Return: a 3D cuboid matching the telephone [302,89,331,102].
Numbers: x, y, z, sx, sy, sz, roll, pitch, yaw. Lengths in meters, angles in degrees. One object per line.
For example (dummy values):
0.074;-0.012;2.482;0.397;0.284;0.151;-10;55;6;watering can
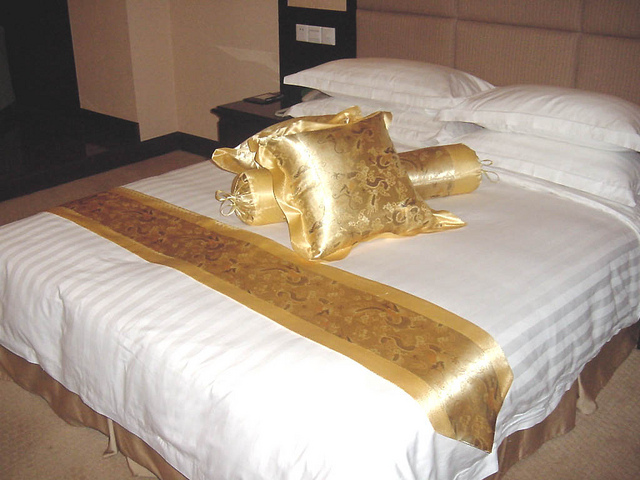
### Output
-0.028;-0.860;3.126;0.117;0.027;0.120;-18;29;-36;telephone
